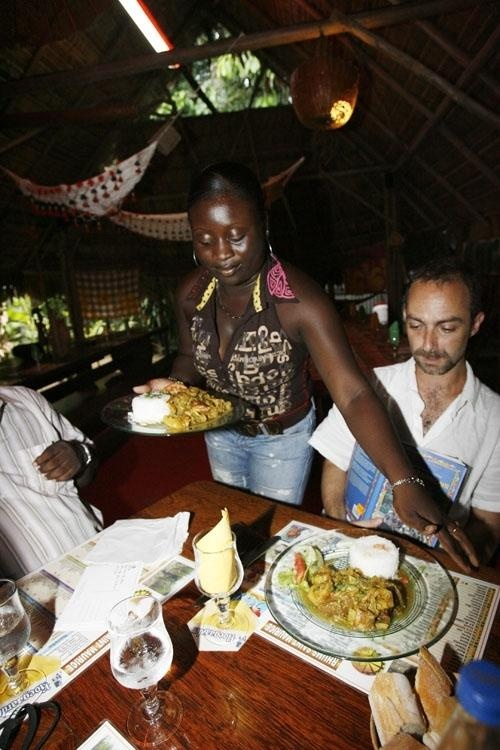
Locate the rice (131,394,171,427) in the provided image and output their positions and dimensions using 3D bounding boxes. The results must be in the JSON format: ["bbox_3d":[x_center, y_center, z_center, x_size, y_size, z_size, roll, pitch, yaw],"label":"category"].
[{"bbox_3d":[-0.533,0.183,2.817,0.166,0.100,0.163,3,9,6],"label":"rice"}]

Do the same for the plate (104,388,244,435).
[{"bbox_3d":[-0.404,0.148,2.724,0.646,0.235,0.643,1,3,10],"label":"plate"}]

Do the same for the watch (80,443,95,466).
[{"bbox_3d":[-0.885,0.429,2.864,0.040,0.104,0.080,-10,9,-32],"label":"watch"}]

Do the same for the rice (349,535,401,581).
[{"bbox_3d":[0.437,0.594,1.810,0.202,0.125,0.135,-7,14,-44],"label":"rice"}]

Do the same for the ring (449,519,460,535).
[{"bbox_3d":[0.746,0.562,1.942,0.028,0.081,0.055,-16,54,8],"label":"ring"}]

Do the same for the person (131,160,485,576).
[{"bbox_3d":[0.140,-0.111,2.770,1.249,1.871,1.099,6,9,12],"label":"person"}]
